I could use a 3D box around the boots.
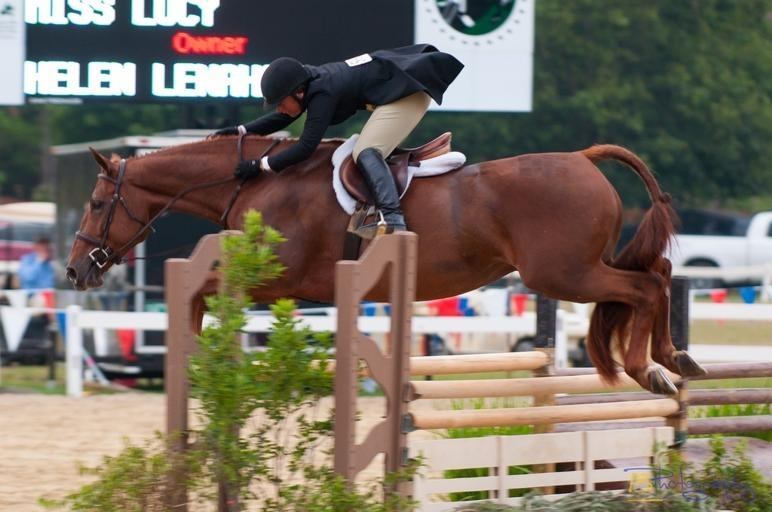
[{"bbox_3d":[-0.062,-0.898,25.405,0.422,1.447,0.446,-16,-17,-4],"label":"boots"}]
